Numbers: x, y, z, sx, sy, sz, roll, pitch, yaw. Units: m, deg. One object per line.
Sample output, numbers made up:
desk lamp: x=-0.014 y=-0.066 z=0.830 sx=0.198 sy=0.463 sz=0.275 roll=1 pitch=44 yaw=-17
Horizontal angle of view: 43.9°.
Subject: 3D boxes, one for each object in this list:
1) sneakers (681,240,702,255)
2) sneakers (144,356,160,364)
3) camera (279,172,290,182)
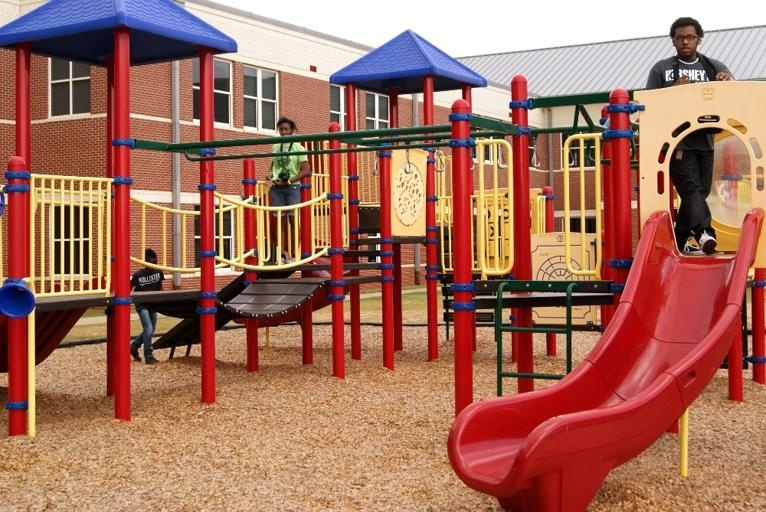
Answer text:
sneakers: x=3.348 y=-0.078 z=10.234 sx=0.106 sy=0.093 sz=0.274 roll=0 pitch=-3 yaw=-13
sneakers: x=-3.261 y=1.491 z=13.488 sx=0.211 sy=0.114 sz=0.077 roll=-3 pitch=-2 yaw=9
camera: x=-1.461 y=-1.175 z=14.130 sx=0.158 sy=0.091 sz=0.145 roll=2 pitch=2 yaw=13
